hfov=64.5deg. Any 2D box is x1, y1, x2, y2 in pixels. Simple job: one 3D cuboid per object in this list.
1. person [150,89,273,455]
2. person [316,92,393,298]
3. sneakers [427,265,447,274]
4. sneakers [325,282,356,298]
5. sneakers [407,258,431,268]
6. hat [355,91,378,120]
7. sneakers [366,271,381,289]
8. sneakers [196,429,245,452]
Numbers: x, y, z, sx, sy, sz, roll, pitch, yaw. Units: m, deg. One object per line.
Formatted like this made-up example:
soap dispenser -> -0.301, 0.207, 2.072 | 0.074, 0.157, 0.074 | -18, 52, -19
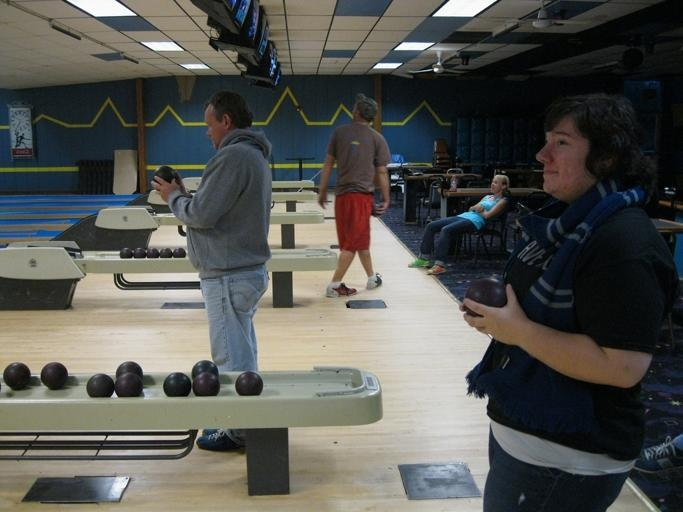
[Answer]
person -> -0.646, -0.033, 2.809 | 0.586, 1.616, 0.588 | -2, 14, -8
person -> 0.098, -0.576, 5.394 | 0.653, 1.988, 0.728 | 4, 15, 16
sneakers -> 1.130, 0.172, 6.505 | 0.227, 0.078, 0.088 | 0, 1, -25
sneakers -> -0.017, 0.360, 5.519 | 0.316, 0.129, 0.126 | 0, 1, -13
sneakers -> 0.952, 0.099, 6.776 | 0.315, 0.120, 0.099 | 2, 1, -8
hat -> 0.225, -1.468, 5.264 | 0.228, 0.255, 0.253 | 0, -25, -9
sneakers -> 0.345, 0.271, 5.861 | 0.093, 0.087, 0.217 | 1, 12, 19
sneakers -> -0.640, 0.977, 2.883 | 0.236, 0.085, 0.124 | 16, -6, 4
